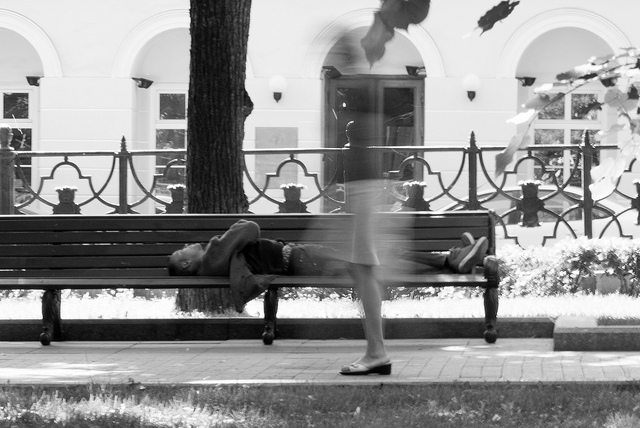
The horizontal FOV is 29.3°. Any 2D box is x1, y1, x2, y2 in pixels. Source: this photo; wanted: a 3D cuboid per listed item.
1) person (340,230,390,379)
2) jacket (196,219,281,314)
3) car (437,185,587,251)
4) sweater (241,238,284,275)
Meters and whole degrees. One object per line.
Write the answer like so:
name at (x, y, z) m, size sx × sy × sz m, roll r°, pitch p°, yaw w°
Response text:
person at (0.431, 0.848, 11.593) m, size 0.443 × 1.392 × 0.276 m, roll -1°, pitch 2°, yaw 7°
jacket at (-0.834, 0.522, 12.854) m, size 0.595 × 0.910 × 0.699 m, roll -3°, pitch 3°, yaw -43°
car at (2.841, 0.046, 18.041) m, size 2.066 × 0.715 × 1.039 m, roll 0°, pitch -2°, yaw -1°
sweater at (-0.599, 0.458, 12.855) m, size 0.450 × 0.361 × 0.236 m, roll 1°, pitch -16°, yaw -19°
